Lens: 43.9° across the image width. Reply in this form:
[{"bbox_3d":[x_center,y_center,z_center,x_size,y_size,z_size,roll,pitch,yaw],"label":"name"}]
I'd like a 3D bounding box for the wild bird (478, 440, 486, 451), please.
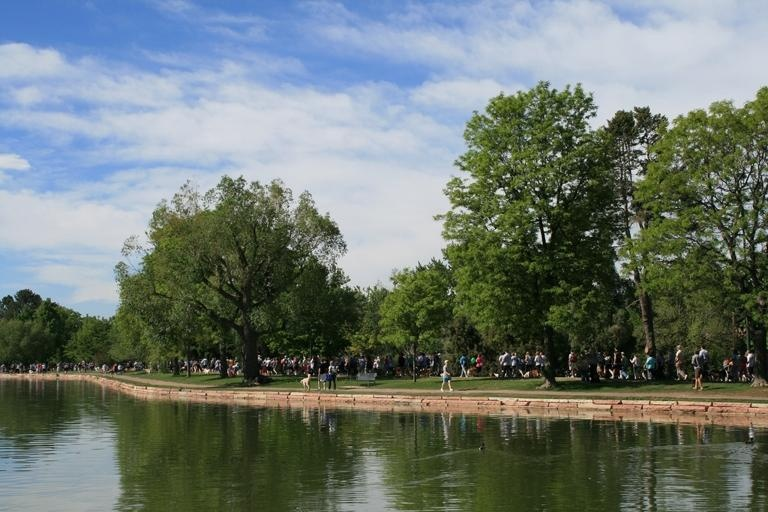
[{"bbox_3d":[5.562,10.750,53.714,0.282,0.406,0.610,2,-1,9],"label":"wild bird"}]

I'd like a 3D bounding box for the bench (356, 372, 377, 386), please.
[{"bbox_3d":[-1.364,11.000,85.338,1.529,1.131,0.566,-3,1,17],"label":"bench"}]
